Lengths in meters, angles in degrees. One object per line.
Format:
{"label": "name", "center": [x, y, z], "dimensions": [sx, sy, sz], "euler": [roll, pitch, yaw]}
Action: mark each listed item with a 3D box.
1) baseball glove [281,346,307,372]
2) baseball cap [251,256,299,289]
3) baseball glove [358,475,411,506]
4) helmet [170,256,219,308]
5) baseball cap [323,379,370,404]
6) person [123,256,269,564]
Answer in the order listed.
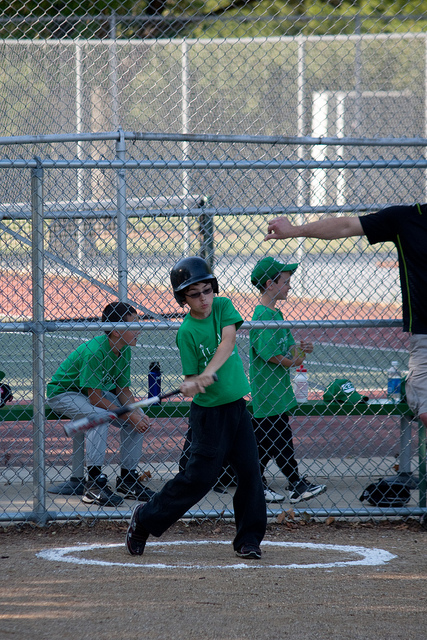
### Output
{"label": "baseball glove", "center": [0.559, 0.242, 6.423], "dimensions": [0.118, 0.184, 0.133], "euler": [38, 37, -6]}
{"label": "baseball cap", "center": [0.374, -0.337, 6.306], "dimensions": [0.309, 0.149, 0.178], "euler": [-29, 6, 2]}
{"label": "baseball glove", "center": [1.118, 1.111, 6.122], "dimensions": [0.317, 0.192, 0.665], "euler": [1, 4, 11]}
{"label": "helmet", "center": [-0.099, -0.197, 4.804], "dimensions": [0.240, 0.253, 0.220], "euler": [-1, 5, -2]}
{"label": "baseball cap", "center": [0.932, 0.501, 6.560], "dimensions": [0.264, 0.108, 0.153], "euler": [-4, -1, 18]}
{"label": "person", "center": [-0.193, 0.476, 4.804], "dimensions": [0.876, 1.495, 0.732], "euler": [-3, -1, 13]}
